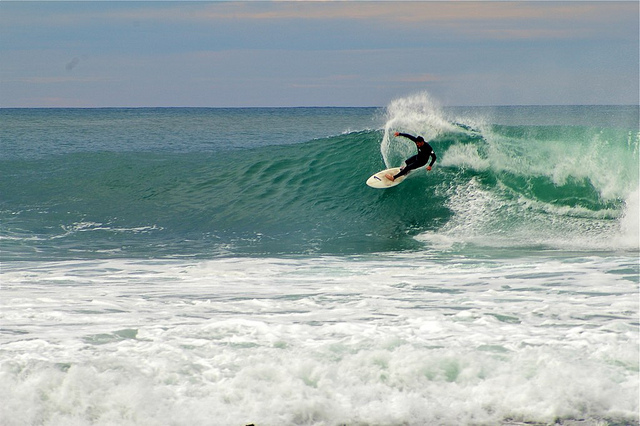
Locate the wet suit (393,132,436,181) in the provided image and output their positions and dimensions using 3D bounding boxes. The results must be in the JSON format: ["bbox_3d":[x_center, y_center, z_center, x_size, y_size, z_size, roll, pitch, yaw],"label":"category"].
[{"bbox_3d":[2.451,-1.422,19.500,0.888,1.108,1.392,-1,9,-1],"label":"wet suit"}]
